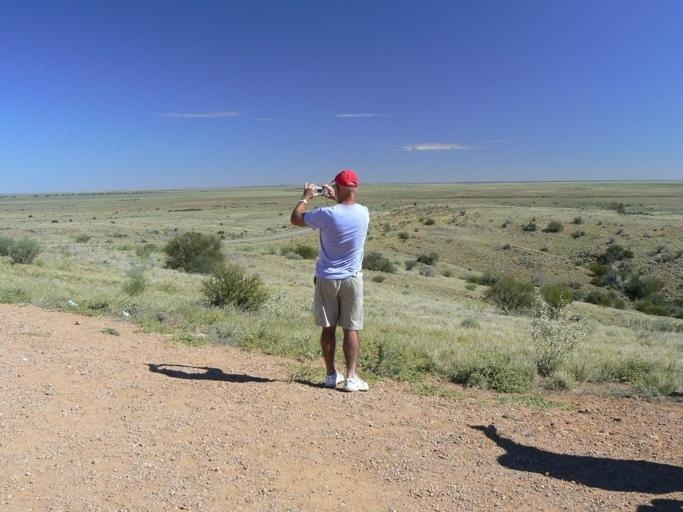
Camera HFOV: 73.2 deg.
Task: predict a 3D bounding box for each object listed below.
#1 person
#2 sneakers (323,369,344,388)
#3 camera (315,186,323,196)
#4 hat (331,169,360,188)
[{"bbox_3d":[-0.056,0.367,6.515,1.099,3.099,0.501,5,7,4],"label":"person"},{"bbox_3d":[-0.087,1.800,6.718,0.131,0.158,0.363,-2,-2,19],"label":"sneakers"},{"bbox_3d":[-0.315,-0.939,6.658,0.103,0.180,0.099,-1,-20,-7],"label":"camera"},{"bbox_3d":[0.065,-1.059,6.304,0.303,0.214,0.347,4,7,-1],"label":"hat"}]
